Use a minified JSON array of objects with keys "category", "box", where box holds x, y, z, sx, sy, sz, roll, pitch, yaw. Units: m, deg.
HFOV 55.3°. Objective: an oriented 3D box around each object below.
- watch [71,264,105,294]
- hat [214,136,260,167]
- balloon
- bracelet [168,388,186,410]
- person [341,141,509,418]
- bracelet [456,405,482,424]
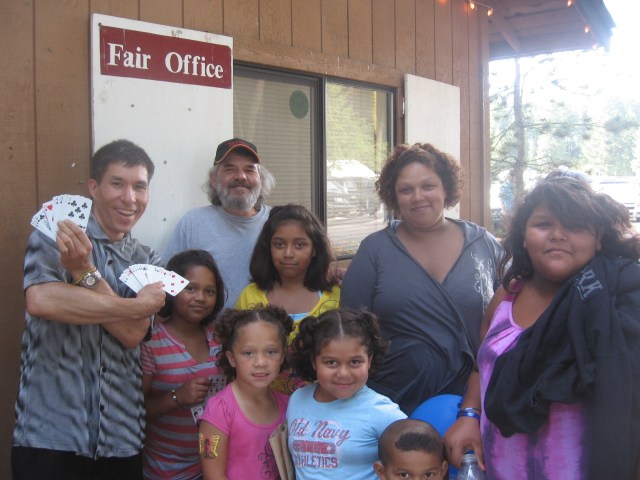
[{"category":"watch","box":[-1.072,0.176,2.865,0.091,0.066,0.102,-39,14,-36]},{"category":"hat","box":[-0.571,-0.588,4.108,0.257,0.206,0.428,-5,8,-23]},{"category":"balloon","box":[0.548,0.967,3.121,0.280,0.367,0.298,5,7,-1]},{"category":"bracelet","box":[-0.752,0.827,3.219,0.057,0.088,0.087,-22,49,-17]},{"category":"person","box":[0.592,0.497,3.464,0.833,2.030,0.582,-2,10,5]},{"category":"bracelet","box":[0.711,0.826,2.893,0.076,0.047,0.102,1,-5,6]}]
